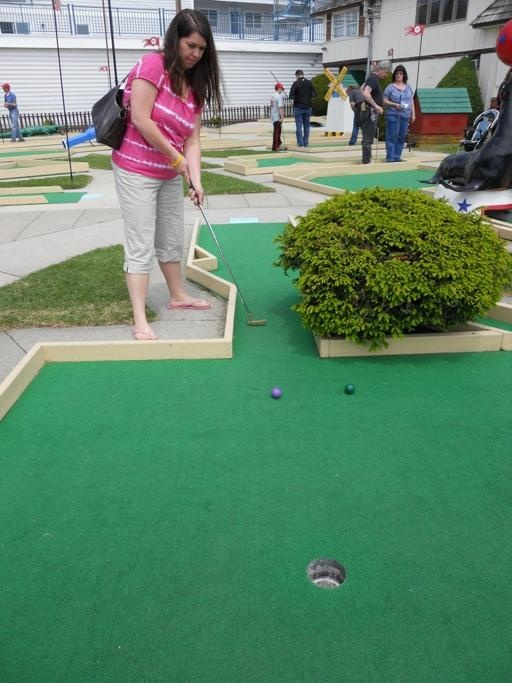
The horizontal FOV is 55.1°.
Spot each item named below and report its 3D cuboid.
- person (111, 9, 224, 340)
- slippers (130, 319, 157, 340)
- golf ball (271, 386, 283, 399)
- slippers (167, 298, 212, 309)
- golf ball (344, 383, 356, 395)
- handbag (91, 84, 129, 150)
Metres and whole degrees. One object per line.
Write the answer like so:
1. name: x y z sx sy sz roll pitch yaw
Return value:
1. person: -0.543 -0.940 3.054 0.733 1.862 0.731 -13 30 -24
2. slippers: -0.708 -0.066 3.105 0.075 0.101 0.227 -3 7 -23
3. golf ball: 0.108 0.266 2.586 0.061 0.046 0.072 0 28 0
4. slippers: -0.506 -0.276 3.708 0.262 0.068 0.110 -1 20 -3
5. golf ball: 0.494 0.246 2.581 0.045 0.058 0.049 2 -15 1
6. handbag: -0.853 -1.290 2.854 0.114 0.283 0.292 -2 11 -33
